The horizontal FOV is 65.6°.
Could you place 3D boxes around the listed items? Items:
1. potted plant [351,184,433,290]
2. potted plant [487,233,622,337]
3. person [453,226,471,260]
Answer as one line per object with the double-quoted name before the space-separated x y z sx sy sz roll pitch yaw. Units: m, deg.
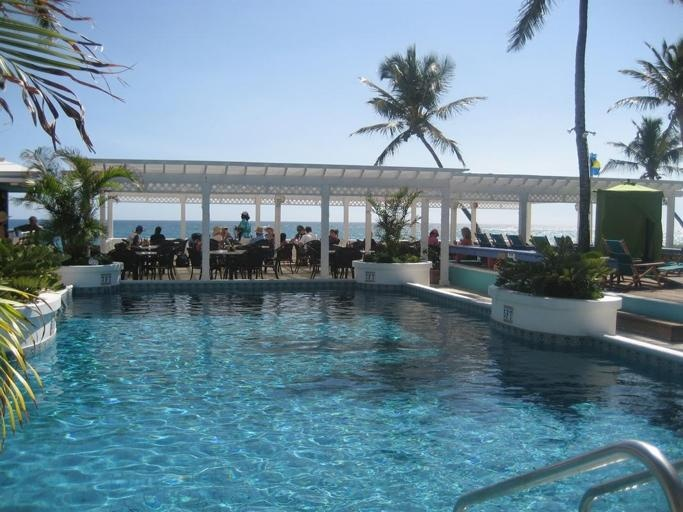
"potted plant" 1.553 -0.316 15.919 2.401 2.956 2.190 2 0 35
"potted plant" 3.377 0.470 8.581 1.882 1.551 0.783 5 6 44
"person" 4.530 -0.503 19.777 0.742 1.220 3.351 2 5 14
